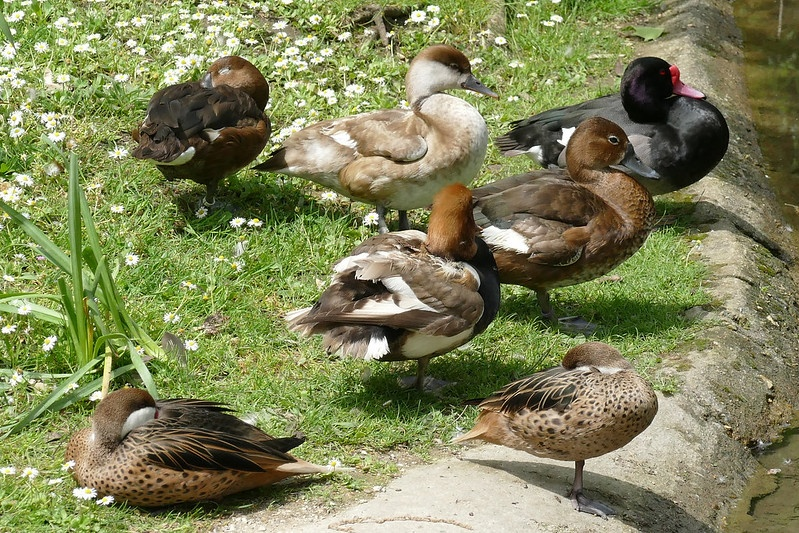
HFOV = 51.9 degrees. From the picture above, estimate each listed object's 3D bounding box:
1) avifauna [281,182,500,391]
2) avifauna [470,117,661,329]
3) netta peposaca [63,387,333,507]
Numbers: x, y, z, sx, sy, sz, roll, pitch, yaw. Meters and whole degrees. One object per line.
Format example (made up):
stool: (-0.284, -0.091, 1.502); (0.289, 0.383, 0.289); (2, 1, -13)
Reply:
avifauna: (-0.064, 0.135, 5.327); (1.601, 1.129, 0.911); (-13, 29, -41)
avifauna: (1.234, -0.277, 6.165); (1.360, 1.452, 0.799); (-24, 35, -31)
netta peposaca: (-1.069, 0.992, 4.672); (1.525, 0.490, 0.649); (0, -2, -5)
